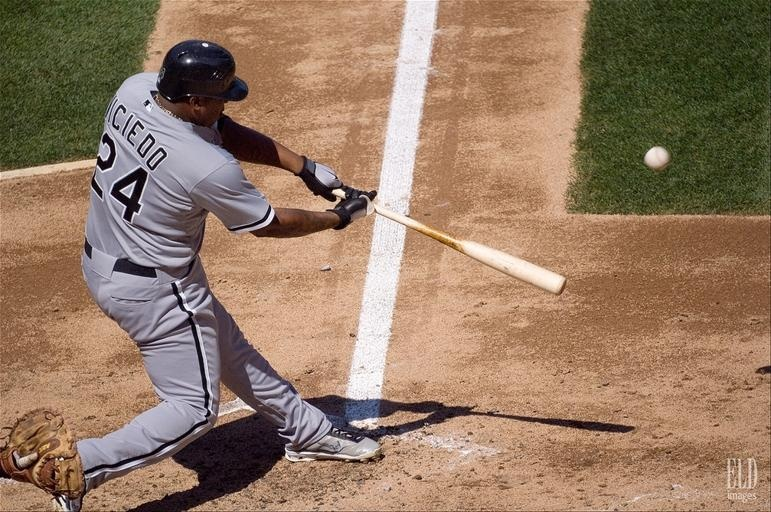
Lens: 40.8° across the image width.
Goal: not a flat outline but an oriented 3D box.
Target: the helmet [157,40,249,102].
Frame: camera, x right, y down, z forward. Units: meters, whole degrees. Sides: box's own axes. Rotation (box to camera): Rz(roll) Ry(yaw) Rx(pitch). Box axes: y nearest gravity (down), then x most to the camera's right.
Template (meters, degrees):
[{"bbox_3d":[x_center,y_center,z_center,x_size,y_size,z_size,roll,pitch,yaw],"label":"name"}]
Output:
[{"bbox_3d":[-1.389,-1.458,8.005,0.771,0.328,0.451,-2,47,-16],"label":"helmet"}]

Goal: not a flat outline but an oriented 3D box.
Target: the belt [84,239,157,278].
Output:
[{"bbox_3d":[-2.014,0.073,8.037,0.375,0.076,0.344,19,1,8],"label":"belt"}]
